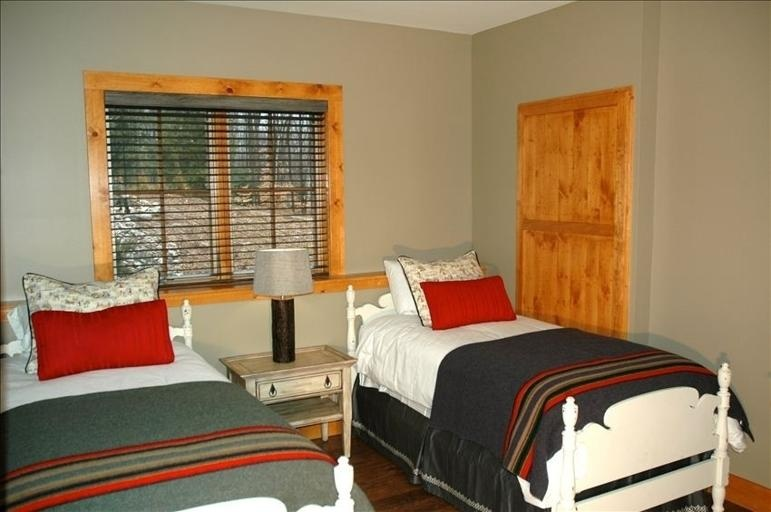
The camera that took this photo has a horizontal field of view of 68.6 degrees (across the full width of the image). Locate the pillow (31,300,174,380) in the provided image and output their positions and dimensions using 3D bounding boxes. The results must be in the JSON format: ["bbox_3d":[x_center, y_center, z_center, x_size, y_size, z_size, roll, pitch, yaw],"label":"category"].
[{"bbox_3d":[-1.607,0.479,3.202,0.687,0.380,0.195,-3,-14,-24],"label":"pillow"}]
